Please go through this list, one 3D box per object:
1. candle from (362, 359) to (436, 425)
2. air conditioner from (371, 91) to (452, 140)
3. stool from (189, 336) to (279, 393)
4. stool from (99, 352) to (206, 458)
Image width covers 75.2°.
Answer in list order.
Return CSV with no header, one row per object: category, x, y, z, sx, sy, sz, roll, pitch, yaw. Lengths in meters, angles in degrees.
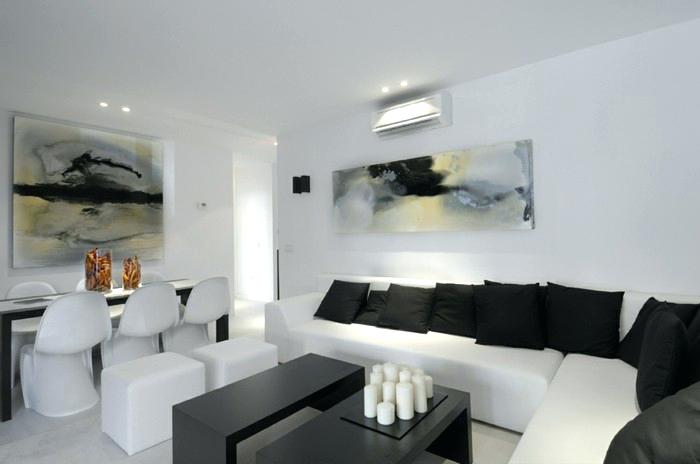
candle,0.361,1.235,3.548,0.364,0.267,0.483,1,-6,-37
air conditioner,0.712,-1.394,5.559,1.011,0.382,0.320,-3,27,41
stool,-1.161,1.262,4.546,0.469,0.420,0.642,-1,-3,36
stool,-1.867,1.456,4.286,0.761,0.722,0.834,1,-1,41
